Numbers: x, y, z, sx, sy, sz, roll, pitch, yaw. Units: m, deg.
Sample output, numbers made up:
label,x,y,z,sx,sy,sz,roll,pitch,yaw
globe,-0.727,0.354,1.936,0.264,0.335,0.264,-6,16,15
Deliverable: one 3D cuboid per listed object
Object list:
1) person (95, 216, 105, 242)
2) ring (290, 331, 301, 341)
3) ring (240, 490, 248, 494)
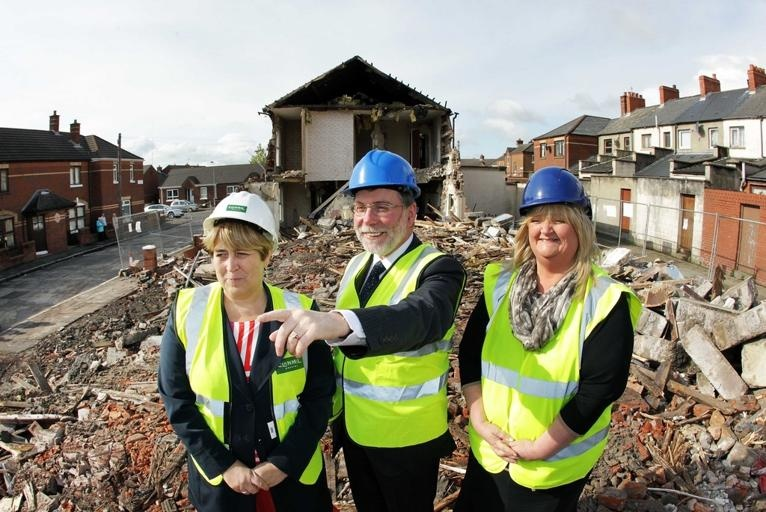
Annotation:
label,x,y,z,sx,sy,sz,roll,pitch,yaw
person,-17.294,-1.651,30.727,0.394,1.335,0.755,2,10,32
ring,-0.572,0.516,3.249,0.040,0.013,0.042,4,43,-3
ring,-1.102,1.861,3.967,0.045,0.017,0.047,0,1,0
